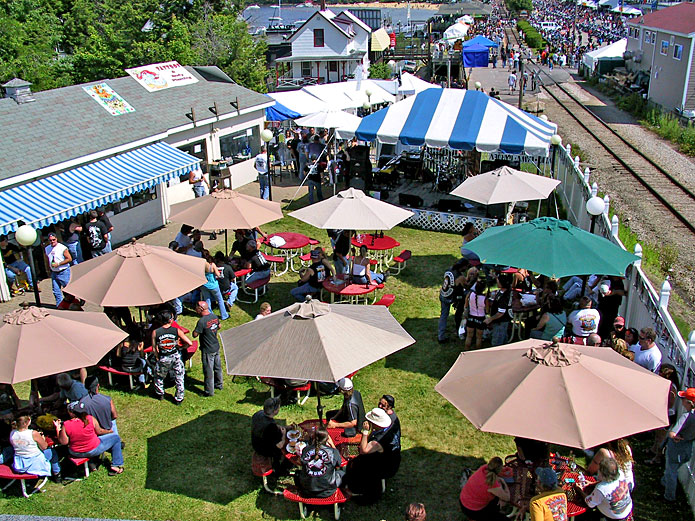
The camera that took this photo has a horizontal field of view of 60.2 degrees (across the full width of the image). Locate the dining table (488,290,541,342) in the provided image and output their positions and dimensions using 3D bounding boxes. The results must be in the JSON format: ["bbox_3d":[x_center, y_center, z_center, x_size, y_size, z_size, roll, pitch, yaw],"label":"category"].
[{"bbox_3d":[3.480,1.154,12.627,0.634,0.765,1.355,17,21,27],"label":"dining table"}]

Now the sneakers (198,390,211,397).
[{"bbox_3d":[-2.817,2.679,12.057,0.160,0.085,0.173,9,4,-22],"label":"sneakers"}]

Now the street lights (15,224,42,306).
[{"bbox_3d":[-7.691,0.127,14.519,0.427,2.047,0.452,20,50,-3],"label":"street lights"}]

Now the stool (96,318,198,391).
[{"bbox_3d":[-3.844,1.832,12.088,1.507,0.804,1.614,4,32,6],"label":"stool"}]

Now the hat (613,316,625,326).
[{"bbox_3d":[5.198,1.171,11.579,0.176,0.145,0.234,-5,-4,37],"label":"hat"}]

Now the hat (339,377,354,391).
[{"bbox_3d":[-0.027,2.075,10.012,0.227,0.138,0.335,0,16,-10],"label":"hat"}]

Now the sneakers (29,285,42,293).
[{"bbox_3d":[-7.634,0.704,14.757,0.343,0.126,0.244,-10,-9,12],"label":"sneakers"}]

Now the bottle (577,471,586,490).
[{"bbox_3d":[3.402,3.235,8.794,0.126,0.181,0.046,-4,-17,2],"label":"bottle"}]

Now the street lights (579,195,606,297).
[{"bbox_3d":[5.411,-0.263,13.307,0.514,2.994,0.527,27,64,36],"label":"street lights"}]

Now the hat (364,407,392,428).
[{"bbox_3d":[0.488,2.468,9.392,0.304,0.098,0.295,17,30,15],"label":"hat"}]

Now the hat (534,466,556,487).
[{"bbox_3d":[2.693,2.932,8.164,0.215,0.168,0.279,-19,30,-37],"label":"hat"}]

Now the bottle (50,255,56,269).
[{"bbox_3d":[-7.036,0.059,14.427,0.096,0.260,0.183,0,3,12],"label":"bottle"}]
